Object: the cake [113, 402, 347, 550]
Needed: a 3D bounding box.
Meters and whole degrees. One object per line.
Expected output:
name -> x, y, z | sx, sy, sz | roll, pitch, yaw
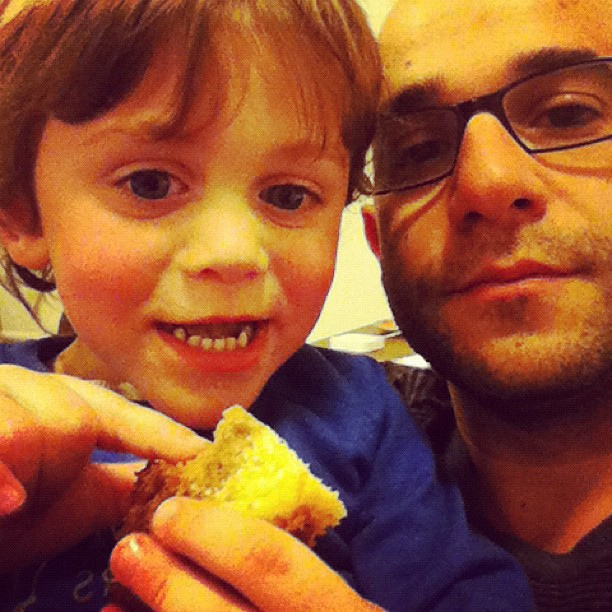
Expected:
cake -> -0.150, 0.218, 1.341 | 0.382, 0.381, 0.074 | 14, 72, -12
